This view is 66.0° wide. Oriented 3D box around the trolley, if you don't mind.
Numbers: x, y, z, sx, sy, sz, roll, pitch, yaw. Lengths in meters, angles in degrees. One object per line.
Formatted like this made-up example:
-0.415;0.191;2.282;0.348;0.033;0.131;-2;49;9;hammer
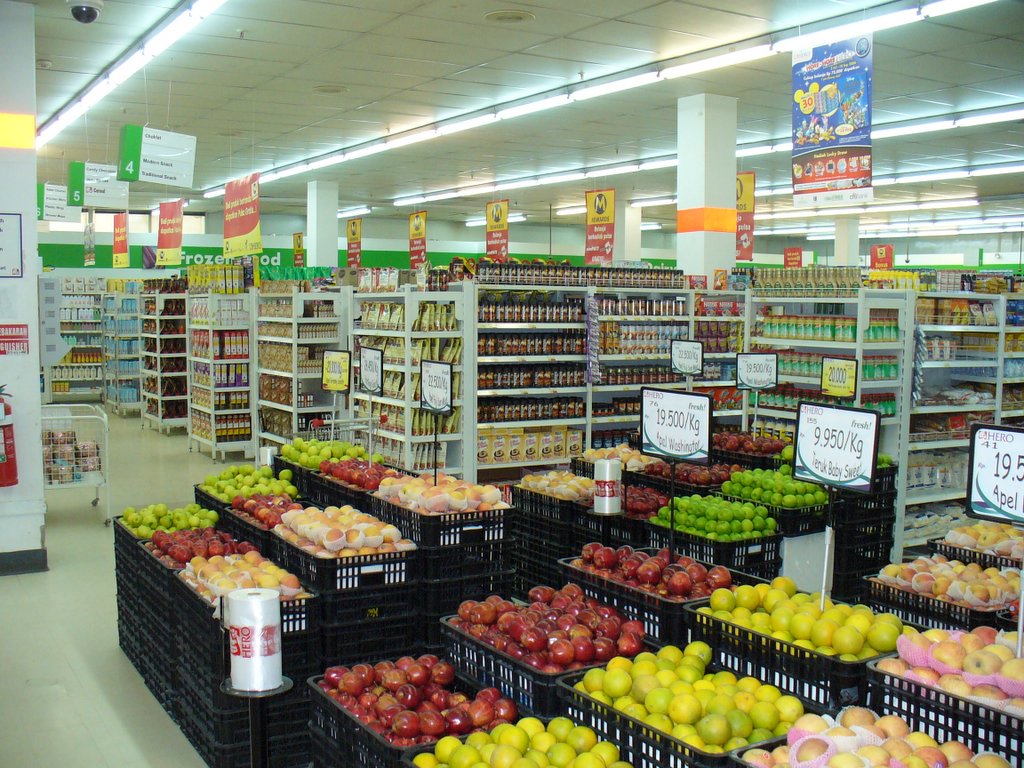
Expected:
-5.129;0.914;9.157;0.747;0.919;1.045;-5;2;-27;trolley

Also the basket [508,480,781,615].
0.846;1.087;5.732;0.923;0.477;1.484;-3;6;-35;basket

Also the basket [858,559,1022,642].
2.323;1.113;4.225;0.748;0.250;0.575;4;9;42;basket
